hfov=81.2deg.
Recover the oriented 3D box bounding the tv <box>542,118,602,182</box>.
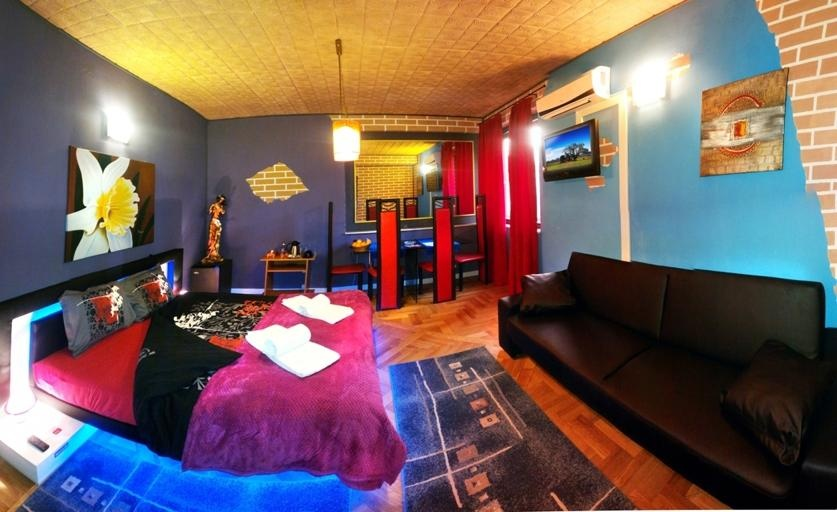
[{"bbox_3d":[1.920,-1.294,6.013,0.096,0.647,0.915,-6,5,-29],"label":"tv"}]

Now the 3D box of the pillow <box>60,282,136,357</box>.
[{"bbox_3d":[-3.339,0.589,5.110,0.339,0.600,0.771,20,19,13],"label":"pillow"}]

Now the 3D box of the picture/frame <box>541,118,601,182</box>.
[{"bbox_3d":[1.908,-1.298,6.024,0.093,0.646,0.915,-6,5,-29],"label":"picture/frame"}]

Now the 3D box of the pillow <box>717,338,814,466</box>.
[{"bbox_3d":[3.107,1.299,4.240,0.681,0.850,0.476,-4,8,-20],"label":"pillow"}]

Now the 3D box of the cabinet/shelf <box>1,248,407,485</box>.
[{"bbox_3d":[-1.804,1.254,4.802,2.551,1.047,2.404,10,9,7],"label":"cabinet/shelf"}]

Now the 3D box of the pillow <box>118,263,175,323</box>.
[{"bbox_3d":[-3.072,0.367,5.541,0.178,0.650,0.705,-8,12,24],"label":"pillow"}]
